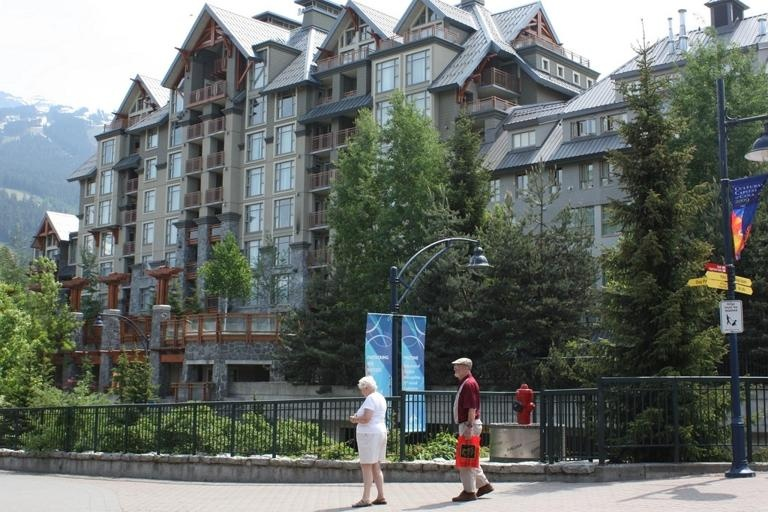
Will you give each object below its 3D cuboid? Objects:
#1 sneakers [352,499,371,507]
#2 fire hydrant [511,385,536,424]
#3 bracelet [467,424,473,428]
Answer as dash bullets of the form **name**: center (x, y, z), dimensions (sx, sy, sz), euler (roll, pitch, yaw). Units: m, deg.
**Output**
- **sneakers**: center (-0.794, 8.815, 46.870), dimensions (0.660, 0.253, 0.257), euler (2, -7, 4)
- **fire hydrant**: center (5.510, 5.770, 51.486), dimensions (0.857, 1.693, 1.349), euler (-2, -12, 5)
- **bracelet**: center (3.098, 6.047, 46.770), dimensions (0.111, 0.101, 0.119), euler (2, -5, 20)
